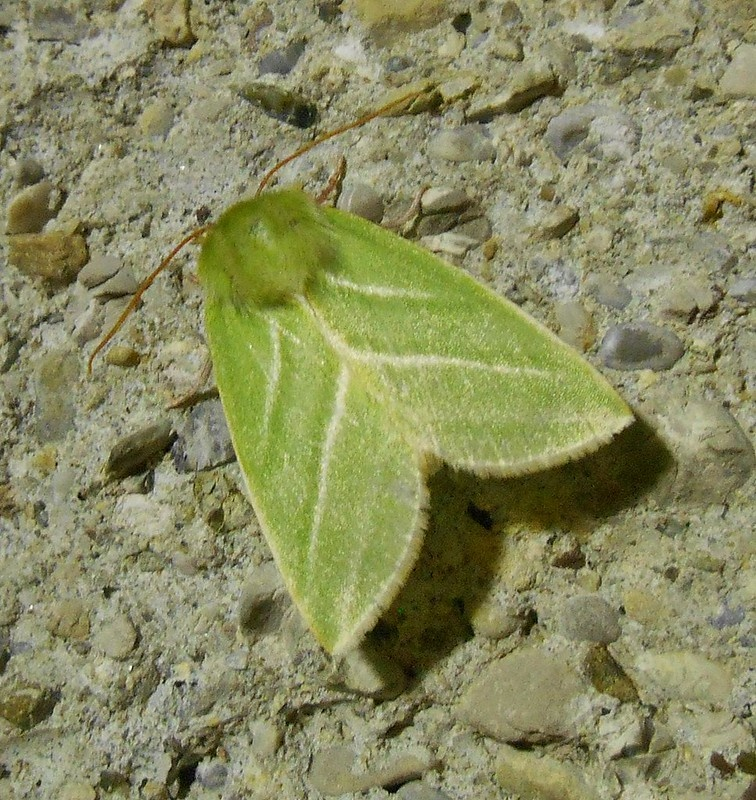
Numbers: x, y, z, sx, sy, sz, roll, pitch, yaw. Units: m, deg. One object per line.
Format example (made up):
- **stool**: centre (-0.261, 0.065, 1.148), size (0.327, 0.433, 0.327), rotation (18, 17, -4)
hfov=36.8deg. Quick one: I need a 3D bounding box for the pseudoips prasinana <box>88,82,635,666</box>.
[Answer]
- **pseudoips prasinana**: centre (0.031, -0.062, 2.393), size (0.737, 0.435, 0.859), rotation (-23, 50, -7)
